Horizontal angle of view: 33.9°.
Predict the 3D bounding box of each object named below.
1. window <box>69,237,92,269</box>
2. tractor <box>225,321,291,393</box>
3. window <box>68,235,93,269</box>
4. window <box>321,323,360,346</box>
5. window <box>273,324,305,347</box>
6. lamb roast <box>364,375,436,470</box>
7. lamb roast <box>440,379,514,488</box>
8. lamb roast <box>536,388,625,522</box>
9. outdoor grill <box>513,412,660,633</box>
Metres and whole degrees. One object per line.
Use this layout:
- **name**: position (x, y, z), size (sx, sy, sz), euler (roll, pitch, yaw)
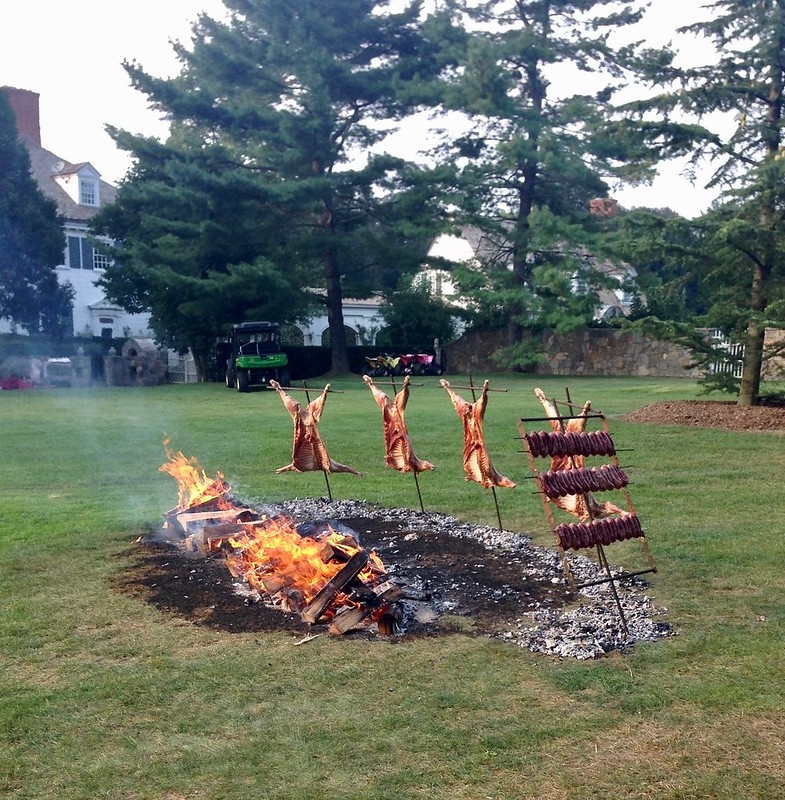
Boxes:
- **window**: position (-12.406, -5.810, 50.993), size (0.064, 1.302, 1.442), euler (-3, -3, 27)
- **tractor**: position (-3.748, -1.205, 36.133), size (1.787, 1.796, 3.306), euler (-4, 1, -6)
- **window**: position (-12.380, -5.838, 50.823), size (0.072, 1.386, 1.534), euler (-3, -3, 27)
- **window**: position (-2.264, -2.796, 58.687), size (1.473, 0.758, 1.586), euler (1, -6, -9)
- **window**: position (-4.274, -2.708, 54.313), size (1.568, 0.957, 1.382), euler (2, -1, -4)
- **lamb roast**: position (0.052, 0.298, 14.210), size (0.618, 0.978, 1.756), euler (-3, 1, 0)
- **lamb roast**: position (0.879, 0.400, 13.317), size (0.374, 0.955, 0.917), euler (-4, 1, -16)
- **lamb roast**: position (1.638, 0.423, 12.651), size (0.637, 1.277, 0.326), euler (-7, -36, 20)
- **outdoor grill**: position (1.793, 1.189, 12.246), size (1.171, 2.227, 0.492), euler (-6, -23, -14)
